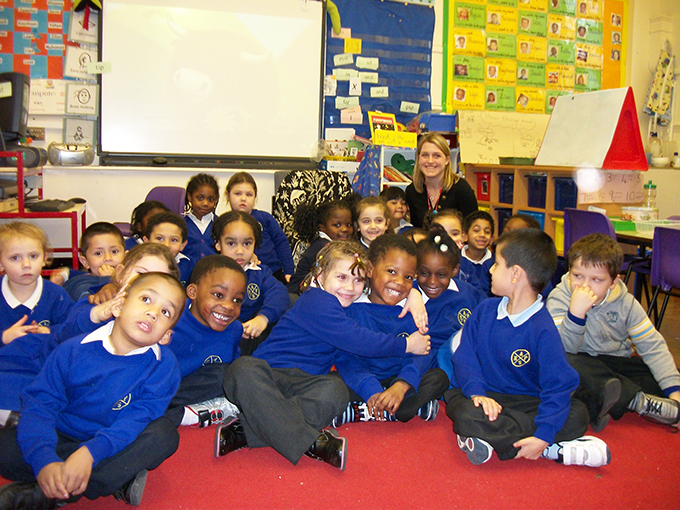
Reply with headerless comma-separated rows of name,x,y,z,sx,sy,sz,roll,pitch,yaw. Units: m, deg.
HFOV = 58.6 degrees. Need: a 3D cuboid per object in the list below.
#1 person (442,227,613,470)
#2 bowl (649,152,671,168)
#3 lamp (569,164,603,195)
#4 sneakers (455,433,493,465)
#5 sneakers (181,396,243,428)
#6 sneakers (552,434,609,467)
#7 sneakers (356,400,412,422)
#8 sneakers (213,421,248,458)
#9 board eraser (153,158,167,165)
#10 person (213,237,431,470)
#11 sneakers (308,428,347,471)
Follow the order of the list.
person,0.675,0.340,2.376,0.494,0.863,0.401,2,7,9
bowl,2.799,-0.817,5.289,0.157,0.106,0.287,6,9,38
lamp,1.771,-0.541,4.379,0.194,0.146,0.177,-1,3,-4
sneakers,0.514,0.727,2.311,0.142,0.104,0.117,3,7,18
sneakers,-0.532,0.643,2.515,0.273,0.099,0.113,-8,9,-24
sneakers,0.901,0.744,2.319,0.232,0.086,0.103,-4,0,14
sneakers,0.181,0.660,2.537,0.237,0.082,0.100,-1,7,-3
sneakers,-0.424,0.696,2.305,0.128,0.107,0.070,-5,9,-39
board eraser,-1.516,-0.796,5.110,0.136,0.074,0.038,-1,8,-18
person,-0.109,0.355,2.455,0.587,0.765,0.830,7,9,40
sneakers,-0.046,0.720,2.230,0.073,0.068,0.182,23,-6,-23
